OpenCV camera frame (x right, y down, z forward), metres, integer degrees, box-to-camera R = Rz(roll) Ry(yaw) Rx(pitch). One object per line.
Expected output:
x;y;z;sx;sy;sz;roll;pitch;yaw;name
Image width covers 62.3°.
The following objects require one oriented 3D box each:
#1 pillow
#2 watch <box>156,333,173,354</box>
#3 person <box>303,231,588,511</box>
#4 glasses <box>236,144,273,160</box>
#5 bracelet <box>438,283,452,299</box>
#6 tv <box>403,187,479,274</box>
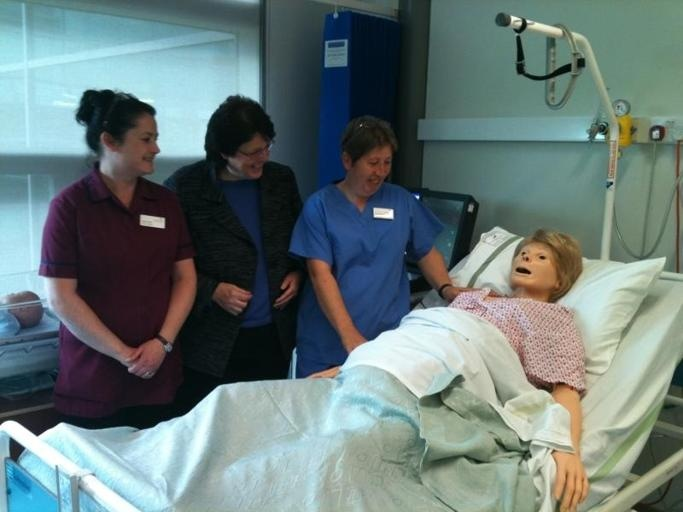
1.044;0.126;2.306;0.636;0.195;0.635;16;42;32;pillow
-0.704;0.341;2.238;0.053;0.057;0.034;32;54;20;watch
0.683;0.364;2.095;0.938;0.359;0.865;-12;21;-42;person
-0.343;-0.431;2.311;0.073;0.056;0.151;13;20;40;glasses
0.465;0.147;2.546;0.064;0.050;0.024;-9;-22;-3;bracelet
0.498;-0.117;2.842;0.390;0.404;0.146;14;0;41;tv
